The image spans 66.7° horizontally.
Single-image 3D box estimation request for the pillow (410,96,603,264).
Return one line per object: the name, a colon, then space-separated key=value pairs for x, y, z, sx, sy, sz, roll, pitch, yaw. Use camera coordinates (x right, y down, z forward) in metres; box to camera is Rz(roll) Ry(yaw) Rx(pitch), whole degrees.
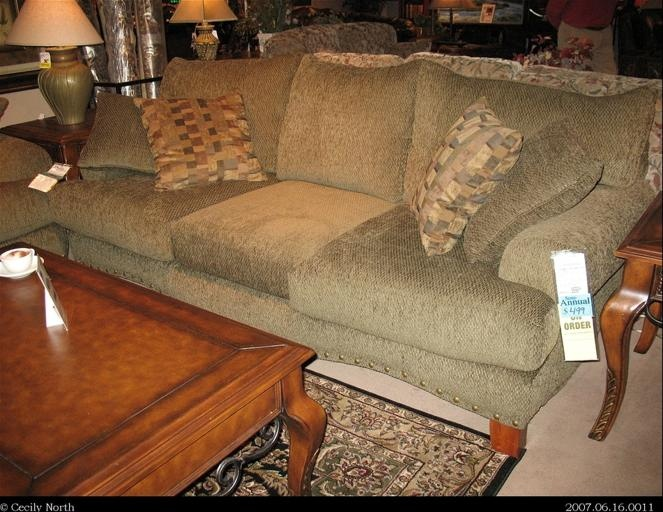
pillow: x=0.595 y=-0.258 z=1.790 sx=0.597 sy=0.509 sz=0.379 roll=7 pitch=23 yaw=11
